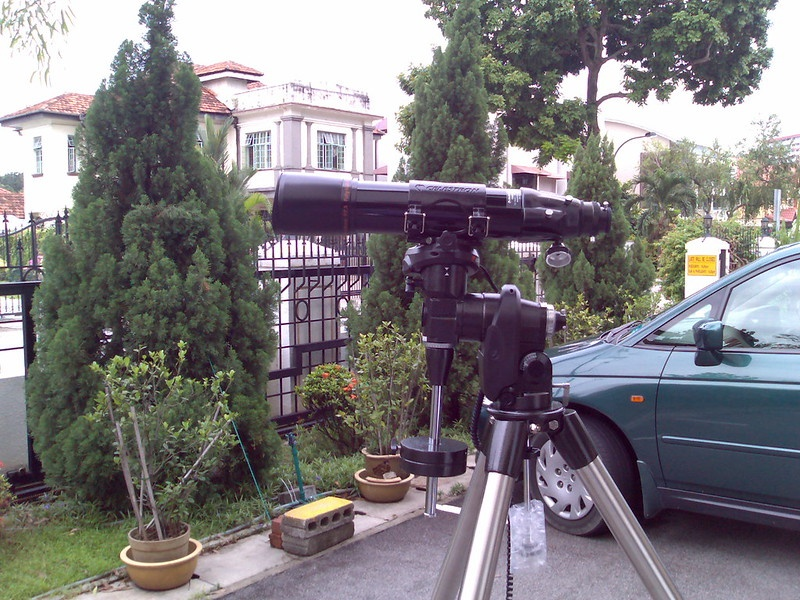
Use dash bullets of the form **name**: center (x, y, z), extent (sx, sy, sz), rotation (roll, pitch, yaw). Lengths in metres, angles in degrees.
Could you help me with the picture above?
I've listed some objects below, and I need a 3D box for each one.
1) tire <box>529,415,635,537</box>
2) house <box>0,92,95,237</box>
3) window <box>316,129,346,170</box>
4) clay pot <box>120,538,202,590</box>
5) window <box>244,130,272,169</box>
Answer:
- **tire**: center (1.350, 1.362, 5.313), extent (0.249, 0.864, 0.754), rotation (-8, 6, -38)
- **house**: center (-14.313, -6.064, 28.272), extent (4.101, 5.544, 2.441), rotation (0, 2, 44)
- **window**: center (-3.172, -7.090, 32.472), extent (1.513, 1.686, 0.122), rotation (-3, 5, -26)
- **clay pot**: center (-1.556, 1.791, 4.560), extent (0.302, 0.144, 0.330), rotation (0, -2, 0)
- **window**: center (-6.384, -6.891, 31.372), extent (1.263, 1.750, 0.078), rotation (-3, -7, 1)
